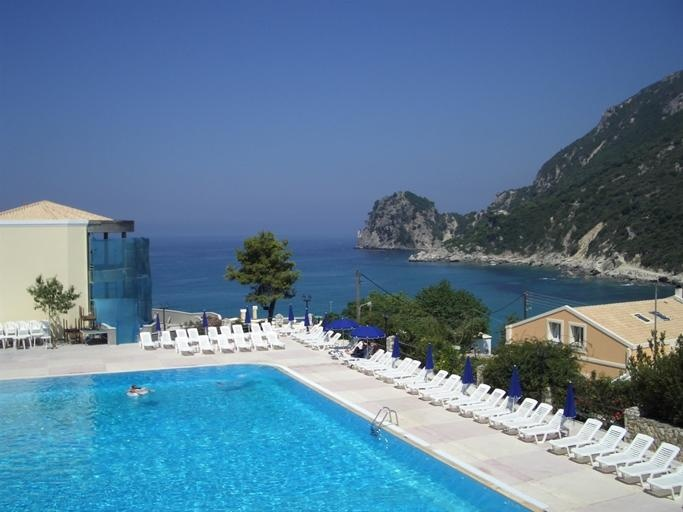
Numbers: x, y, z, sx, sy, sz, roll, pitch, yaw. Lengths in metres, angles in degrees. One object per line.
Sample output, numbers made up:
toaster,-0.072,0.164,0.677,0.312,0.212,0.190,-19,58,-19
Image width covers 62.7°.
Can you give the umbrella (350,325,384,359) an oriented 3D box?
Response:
umbrella,1.126,4.266,27.081,1.629,1.678,1.613,1,2,-35
